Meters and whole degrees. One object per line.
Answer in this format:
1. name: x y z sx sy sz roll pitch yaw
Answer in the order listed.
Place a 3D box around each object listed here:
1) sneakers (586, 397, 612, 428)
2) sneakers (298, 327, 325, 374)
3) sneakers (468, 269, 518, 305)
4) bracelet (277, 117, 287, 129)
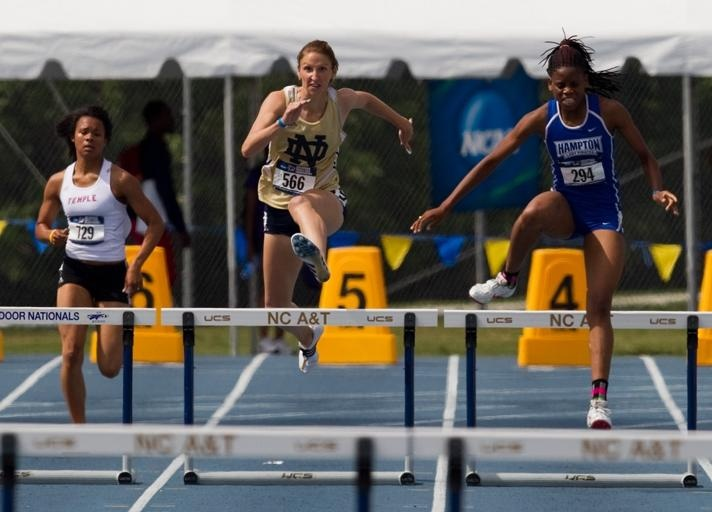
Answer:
1. sneakers: 1.523 1.004 7.972 0.126 0.177 0.351 -1 6 8
2. sneakers: -0.304 0.686 9.228 0.144 0.384 0.174 16 23 16
3. sneakers: 0.870 0.227 8.738 0.432 0.147 0.199 -10 -12 -6
4. bracelet: -0.469 -0.862 8.221 0.062 0.063 0.169 -3 6 -17
